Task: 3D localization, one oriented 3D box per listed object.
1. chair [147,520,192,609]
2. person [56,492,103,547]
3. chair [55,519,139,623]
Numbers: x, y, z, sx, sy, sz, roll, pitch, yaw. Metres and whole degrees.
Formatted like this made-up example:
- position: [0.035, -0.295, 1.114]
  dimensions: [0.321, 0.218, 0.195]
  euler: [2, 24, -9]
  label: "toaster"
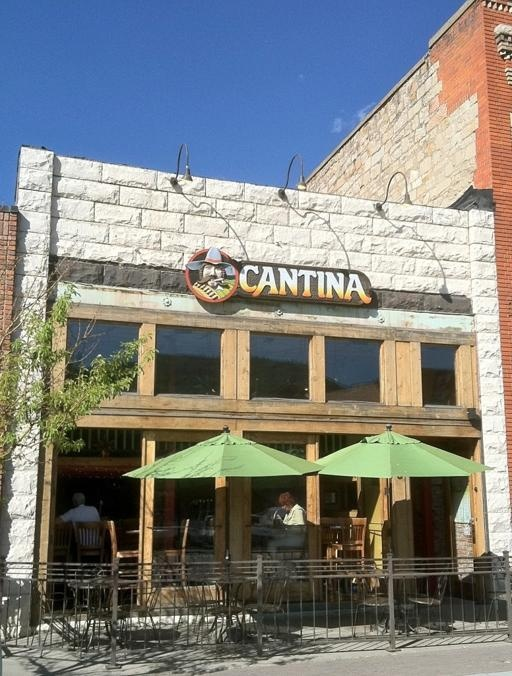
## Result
- position: [-1.204, 3.085, 11.596]
  dimensions: [0.779, 1.208, 0.705]
  euler: [9, -34, -14]
  label: "chair"
- position: [-2.693, 2.715, 12.789]
  dimensions: [0.734, 1.000, 0.696]
  euler: [-3, -4, -13]
  label: "person"
- position: [-2.196, 3.149, 11.515]
  dimensions: [1.071, 1.521, 1.570]
  euler: [4, -15, -22]
  label: "chair"
